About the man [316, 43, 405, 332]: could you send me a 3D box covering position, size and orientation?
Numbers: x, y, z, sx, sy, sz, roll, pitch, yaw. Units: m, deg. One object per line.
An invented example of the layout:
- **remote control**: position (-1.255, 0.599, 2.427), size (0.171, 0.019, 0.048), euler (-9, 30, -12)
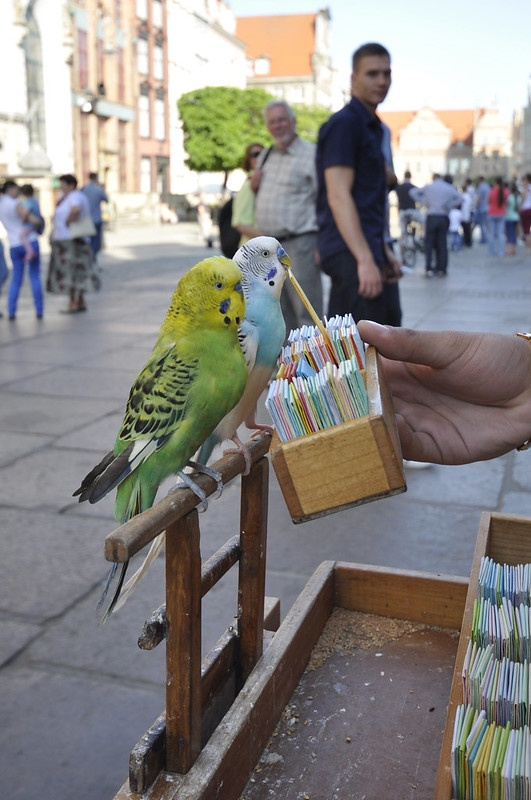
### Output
- **man**: position (0.380, -0.833, 3.439), size (0.369, 1.075, 0.407), euler (2, 15, 5)

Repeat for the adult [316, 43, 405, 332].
- **adult**: position (0.380, -0.833, 3.439), size (0.369, 1.075, 0.407), euler (2, 15, 5)

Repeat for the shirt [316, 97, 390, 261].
- **shirt**: position (0.346, -0.887, 3.492), size (0.259, 0.619, 0.456), euler (0, 10, 23)

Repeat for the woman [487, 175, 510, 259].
- **woman**: position (4.586, -3.653, 17.251), size (0.382, 1.504, 0.465), euler (-4, 19, -6)

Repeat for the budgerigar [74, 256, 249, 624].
- **budgerigar**: position (-0.171, -0.005, 1.534), size (0.267, 0.488, 0.168), euler (0, 15, -5)

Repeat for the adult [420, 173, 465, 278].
- **adult**: position (2.669, -2.695, 13.423), size (0.636, 1.526, 1.496), euler (3, 14, 9)

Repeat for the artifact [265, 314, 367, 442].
- **artifact**: position (0.079, -0.049, 1.319), size (0.148, 0.068, 0.202), euler (-13, 19, 14)

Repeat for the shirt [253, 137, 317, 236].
- **shirt**: position (0.114, -1.153, 4.698), size (0.337, 0.528, 0.176), euler (2, 15, 4)

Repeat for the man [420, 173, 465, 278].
- **man**: position (2.611, -2.727, 13.184), size (0.650, 1.480, 0.482), euler (2, 19, 4)
